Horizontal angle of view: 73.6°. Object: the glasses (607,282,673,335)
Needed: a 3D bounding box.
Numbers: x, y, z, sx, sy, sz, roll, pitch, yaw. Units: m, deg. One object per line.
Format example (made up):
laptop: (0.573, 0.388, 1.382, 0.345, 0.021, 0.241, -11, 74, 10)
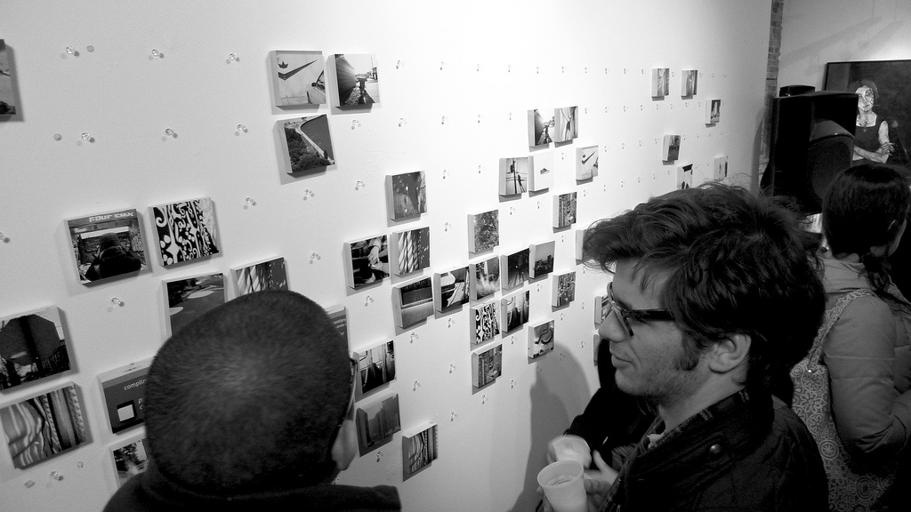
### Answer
glasses: (0.673, 0.186, 2.189, 0.196, 0.056, 0.187, 5, 8, -4)
